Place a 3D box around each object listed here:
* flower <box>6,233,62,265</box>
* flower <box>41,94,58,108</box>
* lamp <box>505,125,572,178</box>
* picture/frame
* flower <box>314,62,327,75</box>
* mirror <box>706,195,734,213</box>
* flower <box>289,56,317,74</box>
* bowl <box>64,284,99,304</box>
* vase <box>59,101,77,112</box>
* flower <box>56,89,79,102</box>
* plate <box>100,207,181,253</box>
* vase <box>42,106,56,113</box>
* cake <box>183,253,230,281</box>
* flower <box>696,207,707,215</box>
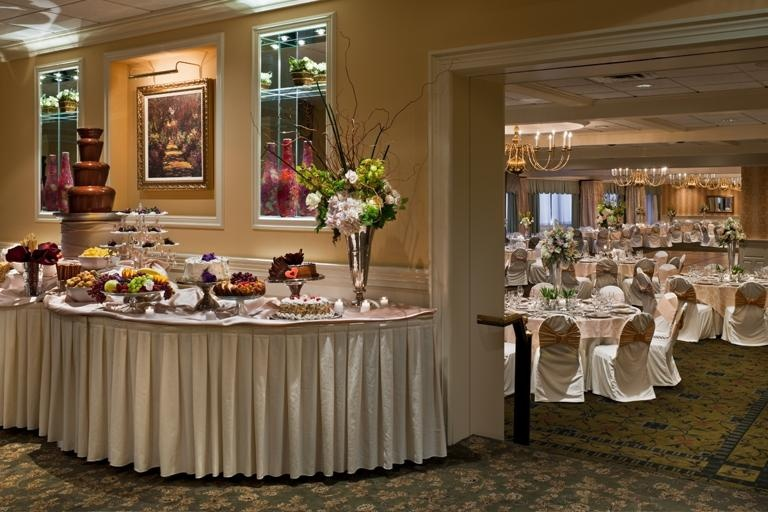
[{"bbox_3d":[-3.448,-0.024,5.350,0.506,0.253,0.495,1,-1,-35],"label":"flower"},{"bbox_3d":[-4.492,-2.055,7.276,0.216,0.112,0.212,3,-2,-41],"label":"flower"},{"bbox_3d":[3.506,-2.657,12.758,1.886,0.915,1.666,1,5,12],"label":"lamp"},{"bbox_3d":[-2.469,-1.407,6.441,1.207,1.256,0.091,3,3,27],"label":"picture/frame"},{"bbox_3d":[-0.626,-1.860,5.405,0.125,0.117,0.122,11,23,31],"label":"flower"},{"bbox_3d":[18.377,-2.798,29.522,1.077,0.853,0.077,2,-6,35],"label":"mirror"},{"bbox_3d":[-0.820,-1.914,5.474,0.220,0.104,0.221,12,11,40],"label":"flower"},{"bbox_3d":[-2.714,0.336,4.860,0.254,0.099,0.178,2,-4,-1],"label":"bowl"},{"bbox_3d":[-4.131,-1.947,7.100,0.168,0.120,0.188,0,2,34],"label":"vase"},{"bbox_3d":[-4.107,-2.097,7.067,0.249,0.124,0.241,4,8,-23],"label":"flower"},{"bbox_3d":[-2.746,-0.250,6.103,0.694,0.701,0.697,5,9,45],"label":"plate"},{"bbox_3d":[-4.485,-1.935,7.288,0.126,0.038,0.118,-2,-3,26],"label":"vase"},{"bbox_3d":[-1.497,0.107,4.668,0.283,0.153,0.271,1,4,6],"label":"cake"},{"bbox_3d":[17.108,-2.420,29.190,0.448,0.422,0.429,6,8,40],"label":"flower"}]
